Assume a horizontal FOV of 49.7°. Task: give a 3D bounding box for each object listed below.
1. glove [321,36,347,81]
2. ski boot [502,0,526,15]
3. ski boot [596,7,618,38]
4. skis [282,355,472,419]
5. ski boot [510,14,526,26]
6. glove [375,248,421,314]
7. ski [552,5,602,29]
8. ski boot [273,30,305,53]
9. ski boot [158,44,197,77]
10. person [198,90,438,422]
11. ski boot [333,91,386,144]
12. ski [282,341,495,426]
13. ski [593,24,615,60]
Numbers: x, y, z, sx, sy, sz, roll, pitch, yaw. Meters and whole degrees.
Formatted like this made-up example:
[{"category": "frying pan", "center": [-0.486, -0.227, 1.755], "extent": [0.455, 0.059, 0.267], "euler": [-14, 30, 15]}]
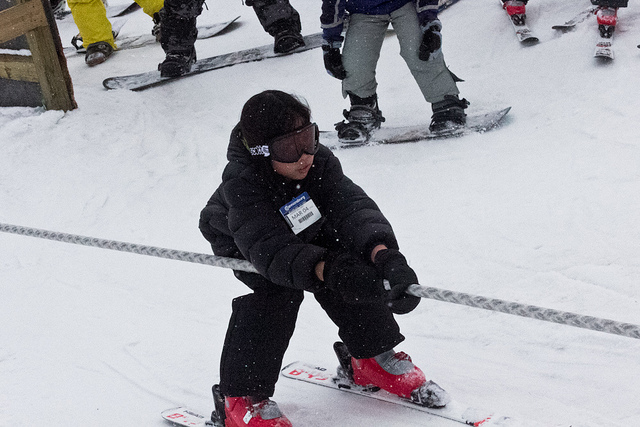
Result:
[{"category": "glove", "center": [0.117, -1.379, 6.138], "extent": [0.220, 0.336, 0.156], "euler": [4, 15, -2]}, {"category": "ski boot", "center": [2.018, -2.146, 7.236], "extent": [0.147, 0.078, 0.187], "euler": [-3, 16, -36]}, {"category": "ski boot", "center": [2.704, -1.819, 6.638], "extent": [0.192, 0.209, 0.304], "euler": [8, 69, 22]}, {"category": "skis", "center": [0.358, 1.091, 4.294], "extent": [1.577, 0.055, 0.251], "euler": [8, 31, 27]}, {"category": "ski boot", "center": [2.045, -2.002, 7.161], "extent": [0.242, 0.127, 0.052], "euler": [1, -10, 6]}, {"category": "glove", "center": [0.411, 0.356, 3.807], "extent": [0.212, 0.259, 0.385], "euler": [-10, 20, 3]}, {"category": "ski", "center": [2.591, -1.965, 6.962], "extent": [0.540, 0.095, 0.088], "euler": [-41, 24, -1]}, {"category": "ski boot", "center": [-0.353, -1.860, 7.476], "extent": [0.335, 0.238, 0.200], "euler": [-10, 21, -1]}, {"category": "ski boot", "center": [-1.575, -1.697, 7.630], "extent": [0.459, 0.364, 0.313], "euler": [-16, 21, -17]}, {"category": "person", "center": [-0.103, 0.264, 4.172], "extent": [1.330, 1.948, 1.053], "euler": [-8, 22, 8]}, {"category": "ski boot", "center": [0.376, -0.900, 6.287], "extent": [0.339, 0.404, 0.646], "euler": [20, 37, 30]}, {"category": "ski", "center": [0.441, 1.079, 4.308], "extent": [1.752, 0.215, 0.282], "euler": [8, 36, 31]}, {"category": "ski", "center": [2.663, -1.596, 6.492], "extent": [0.205, 0.064, 0.590], "euler": [4, 49, 19]}]
